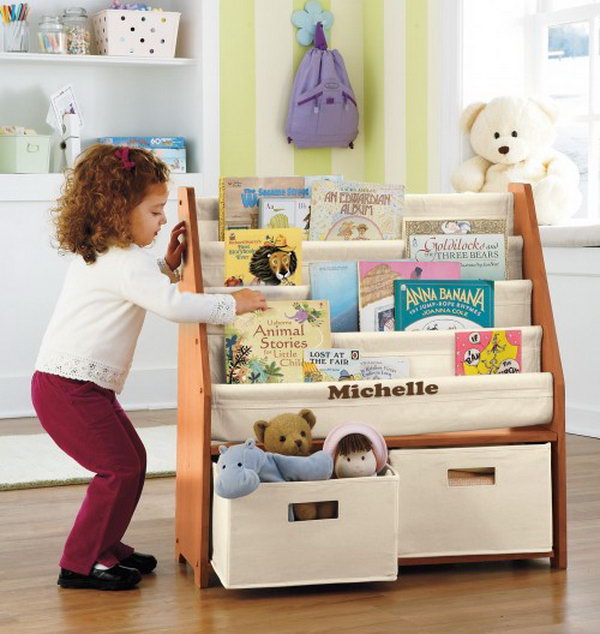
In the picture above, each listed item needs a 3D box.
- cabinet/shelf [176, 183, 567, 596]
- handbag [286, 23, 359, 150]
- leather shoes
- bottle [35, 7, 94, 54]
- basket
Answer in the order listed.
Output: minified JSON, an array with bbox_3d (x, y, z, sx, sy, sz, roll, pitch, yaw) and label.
[{"bbox_3d":[0.184,0.144,1.490,0.713,0.656,0.523,-2,7,-8],"label":"cabinet/shelf"},{"bbox_3d":[0.094,-1.039,3.151,0.327,0.537,0.160,0,1,-2],"label":"handbag"},{"bbox_3d":[-0.381,0.492,1.383,0.163,0.045,0.121,0,2,5],"label":"leather shoes"},{"bbox_3d":[-1.012,-1.233,3.086,0.252,0.218,0.170,0,4,-8],"label":"bottle"},{"bbox_3d":[-0.706,-1.218,3.016,0.278,0.158,0.269,-1,4,-18],"label":"basket"}]
